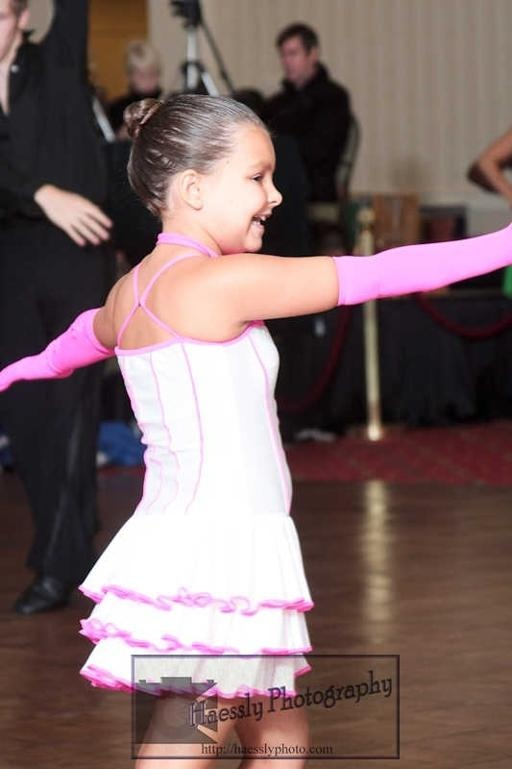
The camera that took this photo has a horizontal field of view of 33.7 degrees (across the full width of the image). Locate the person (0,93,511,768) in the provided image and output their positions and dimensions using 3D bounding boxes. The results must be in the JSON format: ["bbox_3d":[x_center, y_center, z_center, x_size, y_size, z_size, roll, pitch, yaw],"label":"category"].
[{"bbox_3d":[0.023,-0.017,1.237,0.761,0.905,0.577,-7,9,-28],"label":"person"}]
